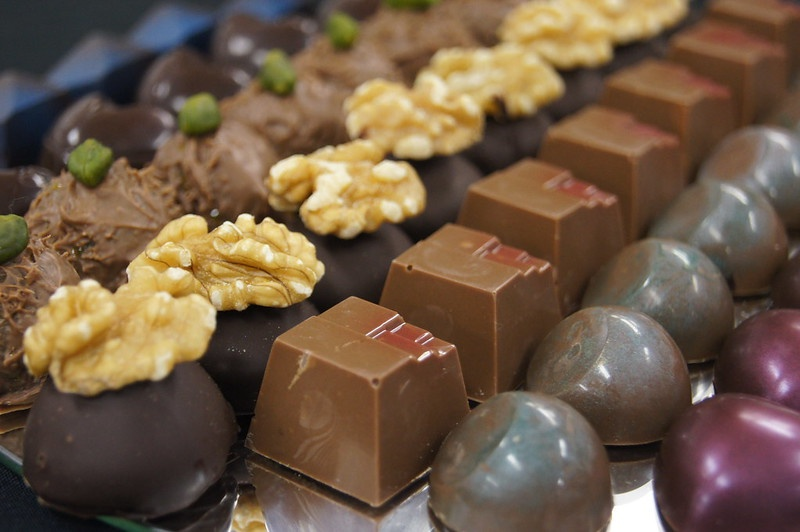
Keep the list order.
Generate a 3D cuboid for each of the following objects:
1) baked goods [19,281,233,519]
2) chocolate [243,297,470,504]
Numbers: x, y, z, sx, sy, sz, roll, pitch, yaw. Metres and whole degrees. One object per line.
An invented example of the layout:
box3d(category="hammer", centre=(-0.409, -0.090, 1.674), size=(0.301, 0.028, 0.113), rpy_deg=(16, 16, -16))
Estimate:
box3d(category="baked goods", centre=(-0.416, 0.157, 1.353), size=(0.348, 0.336, 0.321), rpy_deg=(5, 11, 30))
box3d(category="chocolate", centre=(-0.066, 0.206, 1.348), size=(0.294, 0.204, 0.299), rpy_deg=(28, 44, 31))
